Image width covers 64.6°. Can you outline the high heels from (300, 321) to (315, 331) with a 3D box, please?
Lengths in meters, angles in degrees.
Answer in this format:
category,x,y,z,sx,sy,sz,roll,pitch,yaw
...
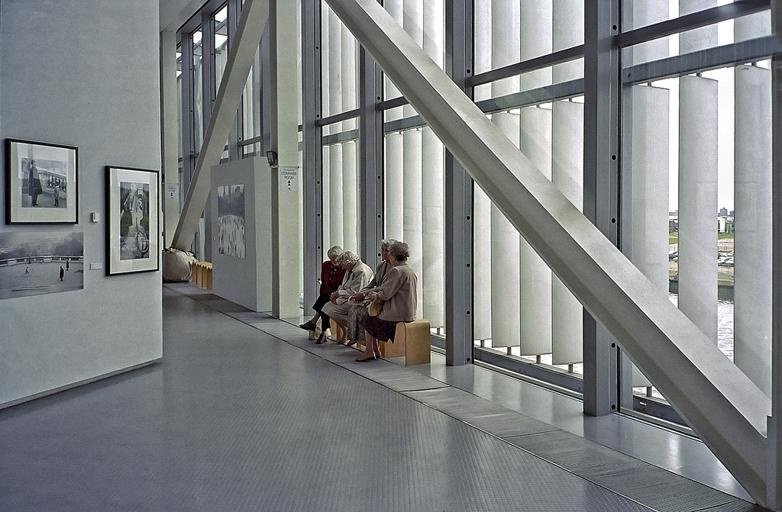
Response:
category,x,y,z,sx,sy,sz,roll,pitch,yaw
high heels,-1.405,1.183,10.513,0.134,0.157,0.371,9,3,-29

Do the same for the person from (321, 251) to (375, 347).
category,x,y,z,sx,sy,sz,roll,pitch,yaw
person,-0.748,0.626,9.955,0.759,1.417,0.690,6,5,-20

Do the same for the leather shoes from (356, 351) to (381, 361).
category,x,y,z,sx,sy,sz,roll,pitch,yaw
leather shoes,-0.320,1.456,9.165,0.284,0.123,0.154,2,-2,-22

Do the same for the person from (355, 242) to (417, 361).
category,x,y,z,sx,sy,sz,roll,pitch,yaw
person,-0.057,0.671,8.992,0.840,1.735,0.489,1,10,9

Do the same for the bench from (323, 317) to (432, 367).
category,x,y,z,sx,sy,sz,roll,pitch,yaw
bench,0.062,1.251,9.603,0.352,0.626,1.688,3,-1,-24
